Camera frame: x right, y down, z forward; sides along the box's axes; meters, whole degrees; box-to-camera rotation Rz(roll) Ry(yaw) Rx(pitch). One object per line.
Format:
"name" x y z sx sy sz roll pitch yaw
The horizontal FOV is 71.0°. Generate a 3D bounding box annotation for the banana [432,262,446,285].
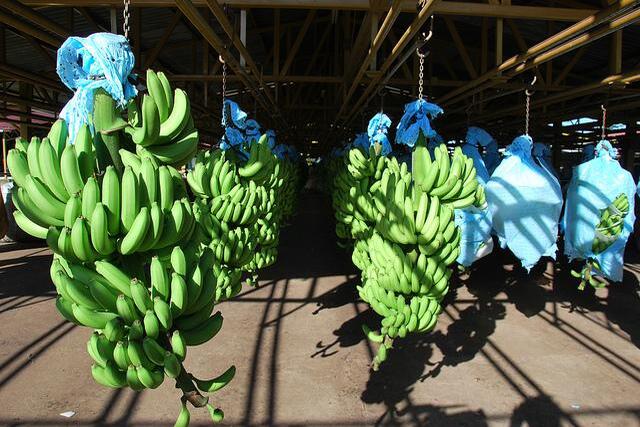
"banana" 1.453 0.712 5.513 0.091 0.324 0.102 31 -22 -15

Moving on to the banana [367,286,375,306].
"banana" 0.635 1.022 5.663 0.050 0.235 0.178 -2 14 -13

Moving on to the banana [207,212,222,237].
"banana" -1.316 0.121 5.620 0.190 0.281 0.175 1 14 0

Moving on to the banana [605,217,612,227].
"banana" 4.118 0.116 6.400 0.059 0.120 0.028 21 3 -5

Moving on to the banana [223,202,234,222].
"banana" -1.184 -0.022 5.795 0.078 0.275 0.093 20 -4 -8

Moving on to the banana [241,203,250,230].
"banana" -1.012 0.030 6.006 0.089 0.362 0.122 1 20 -10

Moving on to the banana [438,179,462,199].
"banana" 1.603 -0.323 5.571 0.057 0.263 0.099 27 35 -9

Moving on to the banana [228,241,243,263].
"banana" -1.073 0.493 5.705 0.081 0.337 0.114 19 1 -20

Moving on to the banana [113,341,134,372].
"banana" -1.676 1.200 3.786 0.087 0.334 0.113 3 21 34

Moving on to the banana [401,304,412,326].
"banana" 1.026 1.198 5.371 0.090 0.271 0.069 12 8 -1

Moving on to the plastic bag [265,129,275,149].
"plastic bag" -0.872 -1.300 7.863 0.133 0.330 0.587 0 14 -7

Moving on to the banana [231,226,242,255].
"banana" -1.068 0.339 5.731 0.079 0.329 0.106 18 -17 -28

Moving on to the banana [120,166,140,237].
"banana" -1.601 -0.097 3.734 0.173 0.585 0.107 -6 15 -27

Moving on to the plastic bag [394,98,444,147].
"plastic bag" 1.258 -1.171 5.745 0.541 0.607 0.279 3 14 8

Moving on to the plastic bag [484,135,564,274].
"plastic bag" 2.986 -0.190 6.573 0.536 1.828 0.988 -9 17 -38

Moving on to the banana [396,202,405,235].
"banana" 0.948 0.050 5.370 0.116 0.379 0.083 1 -6 -43

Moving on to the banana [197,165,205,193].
"banana" -1.558 -0.461 5.897 0.074 0.353 0.117 7 14 22

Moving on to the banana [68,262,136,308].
"banana" -1.851 0.609 3.776 0.463 0.165 0.099 31 -34 -2

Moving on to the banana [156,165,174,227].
"banana" -1.318 -0.165 3.860 0.121 0.498 0.155 -2 3 10

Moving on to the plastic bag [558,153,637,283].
"plastic bag" 4.183 0.027 6.901 1.077 1.867 0.635 2 0 17

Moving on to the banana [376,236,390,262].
"banana" 0.776 0.427 5.713 0.116 0.381 0.083 -27 -25 17

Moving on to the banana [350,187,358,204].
"banana" 0.518 -0.298 6.871 0.066 0.222 0.095 -10 8 -38

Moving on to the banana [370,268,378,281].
"banana" 0.670 0.759 5.621 0.046 0.112 0.185 -3 15 -15

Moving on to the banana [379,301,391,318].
"banana" 0.766 1.165 5.473 0.079 0.068 0.237 8 46 -57

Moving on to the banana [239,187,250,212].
"banana" -1.018 -0.197 6.054 0.075 0.304 0.101 15 -1 -25

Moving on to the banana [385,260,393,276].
"banana" 0.822 0.651 5.407 0.050 0.184 0.051 2 -10 33

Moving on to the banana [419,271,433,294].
"banana" 1.279 0.857 5.464 0.096 0.354 0.122 5 24 -22

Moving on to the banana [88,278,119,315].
"banana" -1.815 0.692 3.824 0.109 0.410 0.139 -36 23 -8

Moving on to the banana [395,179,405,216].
"banana" 0.976 -0.257 5.555 0.104 0.336 0.080 7 -16 -38

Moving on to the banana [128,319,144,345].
"banana" -1.566 1.002 3.798 0.100 0.205 0.069 2 3 -13

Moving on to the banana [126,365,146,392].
"banana" -1.590 1.420 3.888 0.152 0.227 0.134 -8 10 27

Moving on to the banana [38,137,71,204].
"banana" -2.217 -0.360 3.787 0.140 0.667 0.225 -6 6 13

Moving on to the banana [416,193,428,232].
"banana" 1.211 -0.017 5.439 0.104 0.468 0.133 8 -2 -8

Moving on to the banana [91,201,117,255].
"banana" -1.788 0.125 3.687 0.185 0.440 0.073 -6 15 -28

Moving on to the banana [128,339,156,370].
"banana" -1.524 1.203 3.833 0.124 0.369 0.102 -18 21 43

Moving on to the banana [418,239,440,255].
"banana" 1.315 0.407 5.385 0.311 0.222 0.109 1 5 -2

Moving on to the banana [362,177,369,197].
"banana" 0.679 -0.425 6.780 0.091 0.249 0.168 3 14 9

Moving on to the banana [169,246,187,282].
"banana" -1.229 0.427 3.912 0.106 0.385 0.107 14 44 13

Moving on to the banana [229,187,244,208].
"banana" -1.095 -0.243 5.926 0.080 0.320 0.100 27 -13 -8

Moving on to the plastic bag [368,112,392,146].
"plastic bag" 0.832 -1.208 6.432 0.294 0.502 0.438 3 14 5

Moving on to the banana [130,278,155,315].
"banana" -1.511 0.689 3.829 0.107 0.359 0.125 -19 11 11

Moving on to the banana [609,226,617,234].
"banana" 4.182 0.221 6.398 0.098 0.109 0.013 -1 14 -11

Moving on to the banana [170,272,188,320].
"banana" -1.225 0.702 3.854 0.151 0.405 0.081 -1 13 -8

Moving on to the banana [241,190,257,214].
"banana" -0.943 -0.200 6.095 0.083 0.373 0.127 25 -25 -13

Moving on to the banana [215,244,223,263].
"banana" -1.242 0.479 5.492 0.074 0.295 0.135 3 -3 -5

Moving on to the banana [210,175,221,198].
"banana" -1.401 -0.366 5.977 0.077 0.292 0.098 0 12 13

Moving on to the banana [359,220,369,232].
"banana" 0.641 0.174 6.539 0.104 0.100 0.320 4 12 -10

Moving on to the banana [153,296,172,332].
"banana" -1.348 0.873 3.831 0.130 0.345 0.090 4 14 10

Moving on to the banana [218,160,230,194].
"banana" -1.277 -0.504 6.024 0.092 0.414 0.130 13 -10 2

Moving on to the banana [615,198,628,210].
"banana" 4.297 -0.153 6.395 0.044 0.163 0.044 33 12 -35
